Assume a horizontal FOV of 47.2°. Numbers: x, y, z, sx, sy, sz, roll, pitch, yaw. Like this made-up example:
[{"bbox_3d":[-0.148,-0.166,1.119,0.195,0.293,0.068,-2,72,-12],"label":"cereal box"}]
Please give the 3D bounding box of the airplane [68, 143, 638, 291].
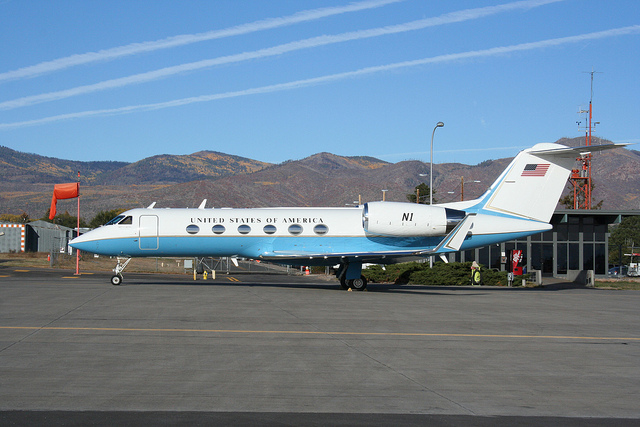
[{"bbox_3d":[1.450,0.043,35.179,21.893,7.229,2.687,1,8,-1],"label":"airplane"}]
